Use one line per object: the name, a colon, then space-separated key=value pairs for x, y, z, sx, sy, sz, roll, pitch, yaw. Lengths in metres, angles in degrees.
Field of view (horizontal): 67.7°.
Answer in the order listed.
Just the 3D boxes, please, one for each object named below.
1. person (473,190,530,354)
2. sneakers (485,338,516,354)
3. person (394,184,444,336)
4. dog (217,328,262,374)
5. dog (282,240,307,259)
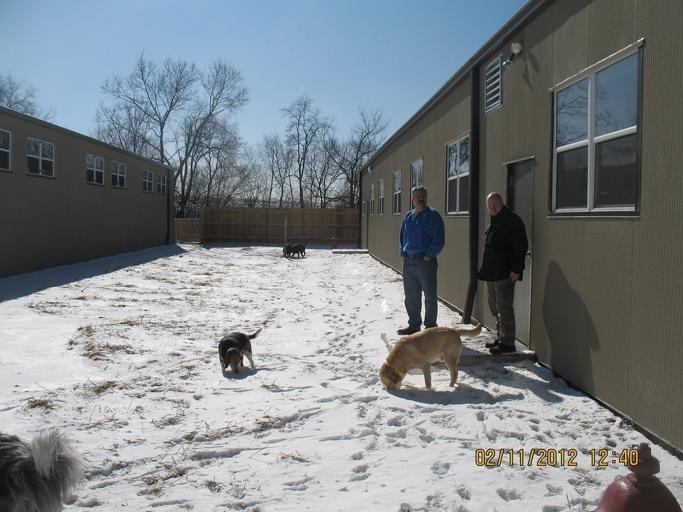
person: x=2.210 y=0.257 z=7.085 sx=0.654 sy=2.242 sz=0.489 roll=5 pitch=8 yaw=34
sneakers: x=2.217 y=1.282 z=7.154 sx=0.437 sy=0.243 sz=0.155 roll=6 pitch=2 yaw=25
person: x=1.272 y=0.073 z=8.321 sx=0.713 sy=2.359 sz=0.645 roll=2 pitch=7 yaw=17
dog: x=-1.489 y=1.400 z=7.339 sx=0.310 sy=0.604 sz=1.264 roll=-9 pitch=9 yaw=0
dog: x=-2.130 y=-0.253 z=22.719 sx=0.928 sy=0.626 sz=1.213 roll=-1 pitch=8 yaw=-9
